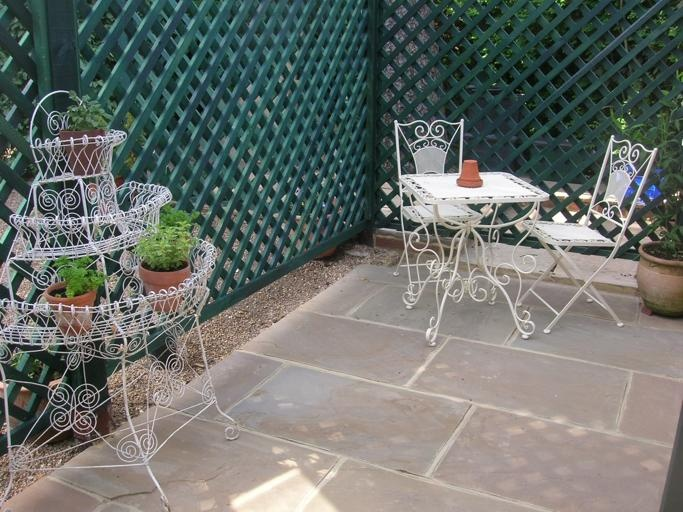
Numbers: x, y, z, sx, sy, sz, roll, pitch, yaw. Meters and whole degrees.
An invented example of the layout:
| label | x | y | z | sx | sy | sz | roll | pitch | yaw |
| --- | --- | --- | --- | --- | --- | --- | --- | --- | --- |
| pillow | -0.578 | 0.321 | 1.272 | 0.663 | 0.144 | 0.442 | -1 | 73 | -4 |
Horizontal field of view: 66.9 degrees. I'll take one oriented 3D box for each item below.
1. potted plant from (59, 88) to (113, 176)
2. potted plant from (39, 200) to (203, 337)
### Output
| label | x | y | z | sx | sy | sz | roll | pitch | yaw |
| --- | --- | --- | --- | --- | --- | --- | --- | --- | --- |
| potted plant | -0.972 | -0.470 | 1.976 | 0.183 | 0.302 | 0.180 | -8 | 21 | -24 |
| potted plant | -0.836 | 0.043 | 2.083 | 0.386 | 0.373 | 0.689 | 18 | 25 | 41 |
